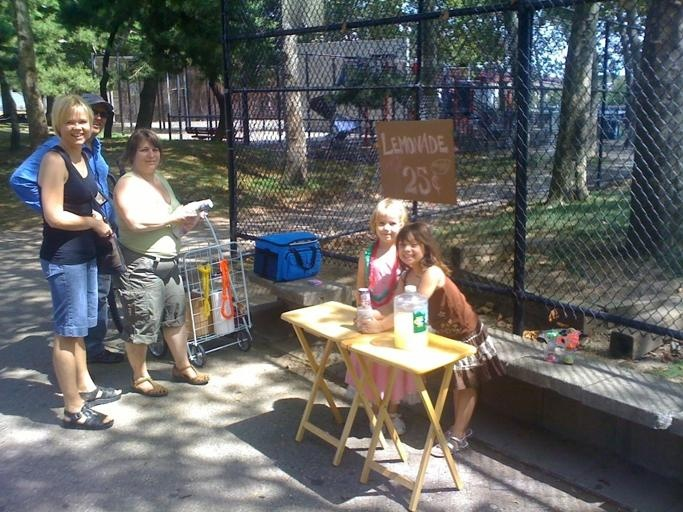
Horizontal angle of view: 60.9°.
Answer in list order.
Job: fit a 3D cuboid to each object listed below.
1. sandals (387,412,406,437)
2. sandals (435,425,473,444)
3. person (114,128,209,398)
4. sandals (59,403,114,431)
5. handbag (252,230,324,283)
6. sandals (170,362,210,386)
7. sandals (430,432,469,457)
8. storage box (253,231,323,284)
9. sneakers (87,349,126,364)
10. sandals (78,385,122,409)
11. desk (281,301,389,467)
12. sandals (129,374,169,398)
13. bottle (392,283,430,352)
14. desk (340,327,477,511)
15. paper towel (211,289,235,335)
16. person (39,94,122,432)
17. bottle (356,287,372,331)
[{"bbox_3d":[0.477,1.429,4.958,0.113,0.190,0.055,3,-27,-33],"label":"sandals"},{"bbox_3d":[0.934,1.454,4.746,0.329,0.138,0.121,12,-5,-36],"label":"sandals"},{"bbox_3d":[-1.714,0.063,5.425,0.740,2.426,0.509,-8,14,-28],"label":"person"},{"bbox_3d":[-2.195,1.381,5.010,0.383,0.159,0.188,0,6,0],"label":"sandals"},{"bbox_3d":[-0.656,-0.090,6.766,0.661,0.456,0.580,-10,14,-41],"label":"handbag"},{"bbox_3d":[-1.483,1.136,5.658,0.332,0.135,0.177,5,7,13],"label":"sandals"},{"bbox_3d":[0.829,1.503,4.697,0.402,0.180,0.143,7,6,-38],"label":"sandals"},{"bbox_3d":[-0.645,-0.080,6.749,0.660,0.451,0.579,-10,15,-42],"label":"storage box"},{"bbox_3d":[-2.445,1.033,6.000,0.315,0.132,0.134,-1,6,-8],"label":"sneakers"},{"bbox_3d":[-2.184,1.260,5.264,0.347,0.142,0.131,-8,15,-34],"label":"sandals"},{"bbox_3d":[-0.043,1.108,4.854,0.608,1.123,0.914,-21,28,-34],"label":"desk"},{"bbox_3d":[-1.793,1.199,5.431,0.303,0.125,0.168,10,13,27],"label":"sandals"},{"bbox_3d":[0.499,0.429,4.163,0.243,0.418,0.265,-1,12,0],"label":"bottle"},{"bbox_3d":[0.517,1.253,4.429,0.679,1.194,0.972,-15,21,-38],"label":"desk"},{"bbox_3d":[-1.222,0.582,6.091,0.272,0.464,0.100,-12,17,-42],"label":"paper towel"},{"bbox_3d":[-2.208,0.075,4.876,0.579,2.765,0.580,8,15,35],"label":"person"},{"bbox_3d":[0.177,0.391,4.424,0.121,0.306,0.157,0,12,4],"label":"bottle"}]
